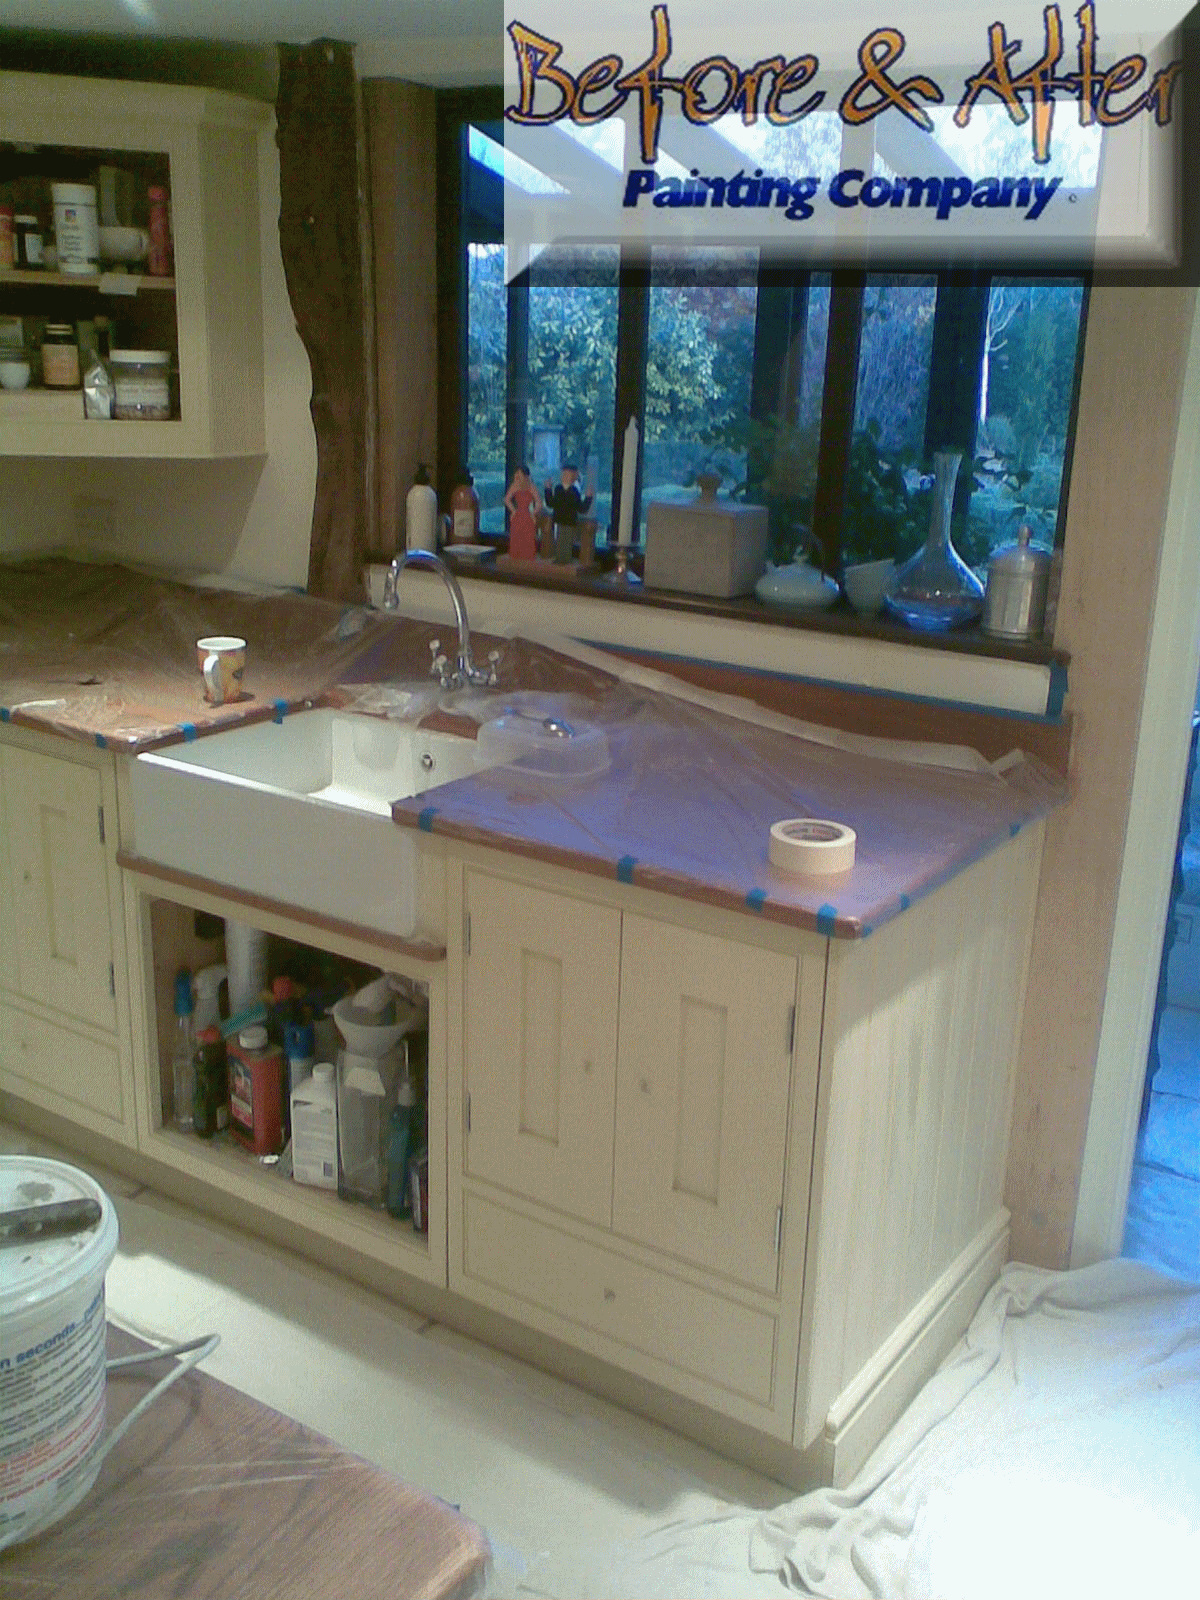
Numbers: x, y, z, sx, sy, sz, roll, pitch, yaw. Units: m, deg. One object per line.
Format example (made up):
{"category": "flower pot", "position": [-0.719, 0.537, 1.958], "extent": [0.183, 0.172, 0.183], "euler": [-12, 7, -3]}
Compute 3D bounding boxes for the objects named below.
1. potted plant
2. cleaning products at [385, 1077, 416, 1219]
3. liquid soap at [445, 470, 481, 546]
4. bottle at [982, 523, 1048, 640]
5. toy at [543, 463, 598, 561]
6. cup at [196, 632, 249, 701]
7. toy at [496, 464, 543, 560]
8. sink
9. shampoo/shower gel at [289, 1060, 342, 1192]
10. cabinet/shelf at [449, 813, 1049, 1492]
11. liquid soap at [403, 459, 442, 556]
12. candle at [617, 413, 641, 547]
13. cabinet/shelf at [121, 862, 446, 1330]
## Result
{"category": "potted plant", "position": [0.463, -0.459, 2.146], "extent": [0.627, 0.304, 0.195], "euler": [11, 19, 36]}
{"category": "cleaning products", "position": [-0.315, 0.548, 1.984], "extent": [0.056, 0.213, 0.102], "euler": [-3, 15, -10]}
{"category": "liquid soap", "position": [-0.287, -0.612, 2.658], "extent": [0.067, 0.145, 0.102], "euler": [-1, 15, -3]}
{"category": "bottle", "position": [0.649, -0.316, 1.957], "extent": [0.092, 0.138, 0.051], "euler": [5, 16, 18]}
{"category": "toy", "position": [-0.058, -0.563, 2.493], "extent": [0.088, 0.183, 0.124], "euler": [-2, 15, -4]}
{"category": "cup", "position": [-0.656, -0.237, 2.248], "extent": [0.111, 0.119, 0.113], "euler": [-1, 11, 0]}
{"category": "toy", "position": [-0.156, -0.588, 2.587], "extent": [0.074, 0.182, 0.212], "euler": [-2, 15, -4]}
{"category": "sink", "position": [-0.406, 0.012, 2.041], "extent": [0.643, 0.219, 0.399], "euler": [10, 18, 35]}
{"category": "shampoo/shower gel", "position": [-0.464, 0.532, 2.048], "extent": [0.085, 0.203, 0.065], "euler": [-2, 15, -5]}
{"category": "cabinet/shelf", "position": [0.078, 0.370, 2.136], "extent": [0.783, 1.067, 0.862], "euler": [13, 19, 34]}
{"category": "liquid soap", "position": [-0.379, -0.619, 2.664], "extent": [0.077, 0.174, 0.178], "euler": [-2, 15, -6]}
{"category": "candle", "position": [0.053, -0.615, 2.457], "extent": [0.043, 0.249, 0.081], "euler": [1, 15, 7]}
{"category": "cabinet/shelf", "position": [-0.509, 0.488, 2.026], "extent": [0.583, 0.529, 0.369], "euler": [13, 18, 27]}
